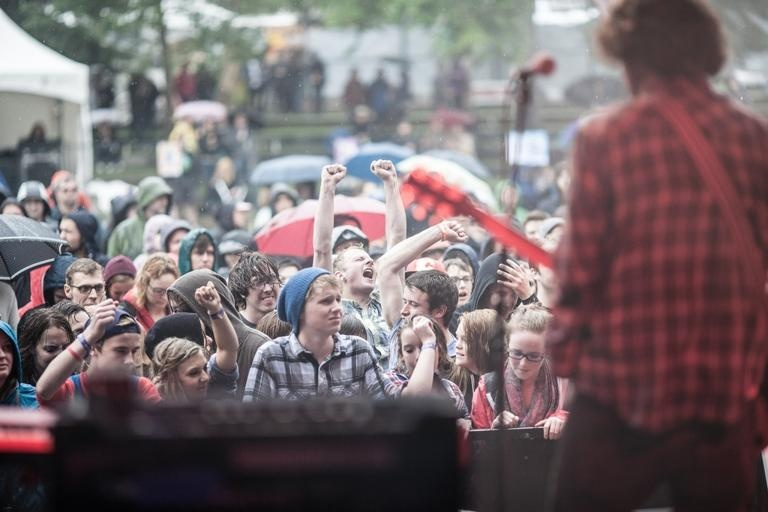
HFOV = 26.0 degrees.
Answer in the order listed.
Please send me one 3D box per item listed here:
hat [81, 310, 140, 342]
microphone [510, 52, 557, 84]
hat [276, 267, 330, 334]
[{"bbox_3d":[-1.325,0.341,8.067,0.208,0.108,0.156,14,2,41],"label":"hat"},{"bbox_3d":[0.698,-0.873,7.697,0.192,0.075,0.107,-23,44,-2],"label":"microphone"},{"bbox_3d":[-0.396,0.208,8.074,0.202,0.297,0.196,-9,15,-38],"label":"hat"}]
